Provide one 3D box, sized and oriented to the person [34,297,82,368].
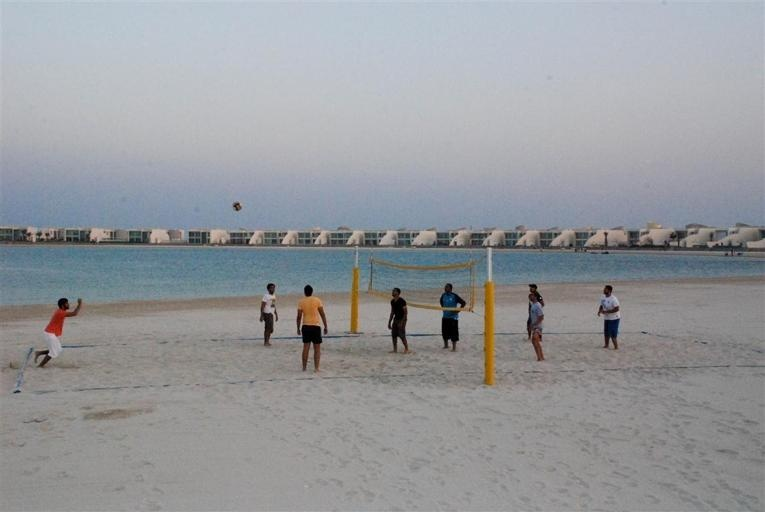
[{"bbox_3d":[-6.948,1.619,17.494,0.792,1.417,1.055,-1,-2,-22],"label":"person"}]
